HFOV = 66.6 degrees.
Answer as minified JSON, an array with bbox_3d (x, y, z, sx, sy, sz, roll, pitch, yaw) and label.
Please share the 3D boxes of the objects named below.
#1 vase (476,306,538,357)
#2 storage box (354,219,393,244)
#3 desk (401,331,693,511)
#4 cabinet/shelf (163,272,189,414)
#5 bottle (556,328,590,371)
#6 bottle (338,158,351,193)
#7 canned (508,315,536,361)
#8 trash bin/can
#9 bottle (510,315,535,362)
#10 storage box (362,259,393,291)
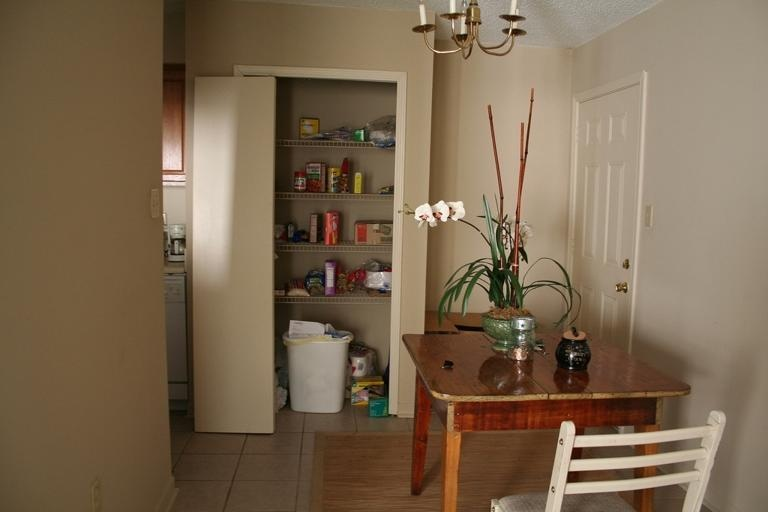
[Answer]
[{"bbox_3d":[0.674,0.398,3.172,0.262,0.168,0.259,-1,1,-10],"label":"vase"},{"bbox_3d":[-0.075,-0.188,4.650,0.340,0.170,0.163,1,-2,-1],"label":"storage box"},{"bbox_3d":[0.752,0.541,3.301,1.277,0.975,1.075,0,4,-5],"label":"desk"},{"bbox_3d":[-1.579,0.650,4.462,0.173,1.102,0.116,1,5,-15],"label":"cabinet/shelf"},{"bbox_3d":[0.987,0.472,3.080,0.164,0.212,0.209,-5,16,-6],"label":"bottle"},{"bbox_3d":[-0.315,-0.641,4.705,0.095,0.290,0.116,3,-1,-5],"label":"bottle"},{"bbox_3d":[0.745,0.442,3.161,0.139,0.219,0.139,3,7,17],"label":"canned"},{"bbox_3d":[-0.495,0.917,4.714,0.615,0.587,0.539,0,-1,-8],"label":"trash bin/can"},{"bbox_3d":[0.750,0.445,3.158,0.144,0.215,0.144,1,3,0],"label":"bottle"},{"bbox_3d":[-0.057,0.150,4.808,0.233,0.237,0.327,2,4,-3],"label":"storage box"}]
